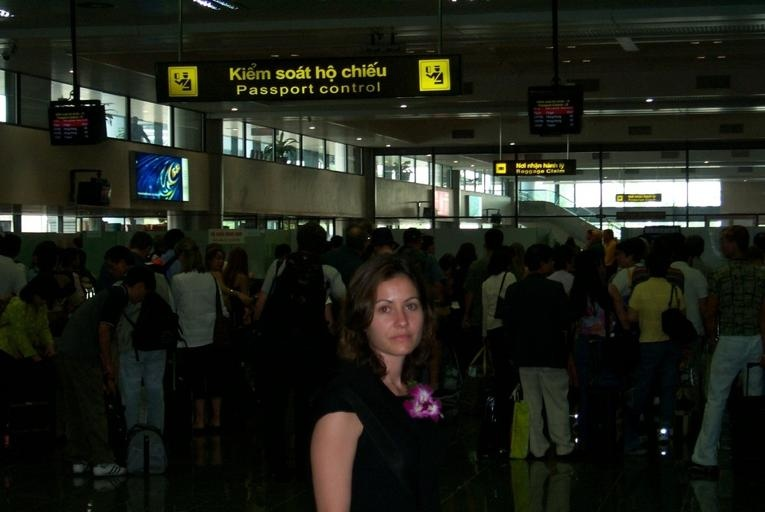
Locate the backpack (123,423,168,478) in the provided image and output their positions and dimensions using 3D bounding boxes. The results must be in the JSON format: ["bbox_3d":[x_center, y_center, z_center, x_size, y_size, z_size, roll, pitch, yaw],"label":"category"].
[{"bbox_3d":[-2.689,2.205,9.131,0.484,0.501,0.571,2,-2,4],"label":"backpack"}]

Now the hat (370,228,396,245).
[{"bbox_3d":[-0.004,-0.239,9.721,0.214,0.126,0.247,1,-8,-6],"label":"hat"}]

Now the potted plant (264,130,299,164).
[{"bbox_3d":[-2.996,-3.285,23.765,0.911,0.645,0.994,1,2,24],"label":"potted plant"}]

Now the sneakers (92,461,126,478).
[{"bbox_3d":[-3.062,2.392,8.949,0.428,0.143,0.173,0,-18,-24],"label":"sneakers"}]

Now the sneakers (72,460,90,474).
[{"bbox_3d":[-3.420,2.392,9.037,0.148,0.133,0.169,1,1,-8],"label":"sneakers"}]
